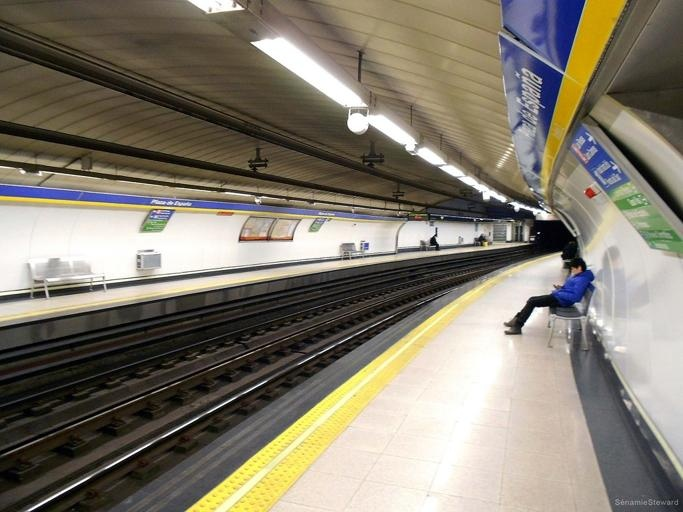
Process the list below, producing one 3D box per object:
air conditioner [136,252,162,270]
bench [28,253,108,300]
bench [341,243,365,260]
[{"bbox_3d":[-7.431,0.195,13.453,0.694,0.629,1.139,-1,-1,37],"label":"air conditioner"},{"bbox_3d":[-8.876,0.601,11.369,1.021,0.782,1.937,18,9,12],"label":"bench"},{"bbox_3d":[0.992,-0.327,24.776,0.776,0.830,1.972,-4,-1,36],"label":"bench"}]
